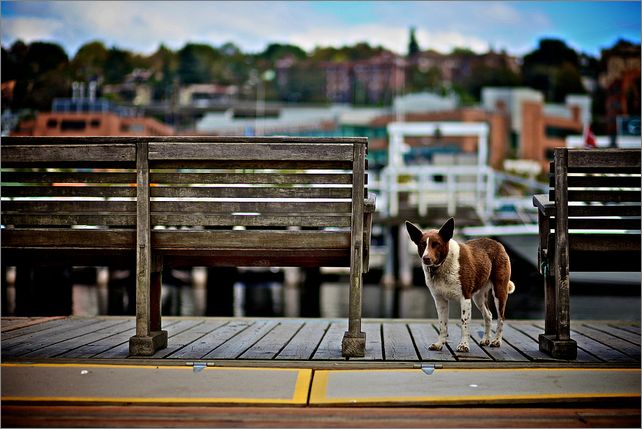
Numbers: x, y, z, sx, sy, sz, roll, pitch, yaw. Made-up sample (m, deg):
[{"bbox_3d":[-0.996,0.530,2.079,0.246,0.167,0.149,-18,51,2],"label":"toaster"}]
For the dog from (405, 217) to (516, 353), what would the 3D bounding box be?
[{"bbox_3d":[1.928,0.973,12.858,1.351,1.856,0.584,-2,2,-27],"label":"dog"}]
